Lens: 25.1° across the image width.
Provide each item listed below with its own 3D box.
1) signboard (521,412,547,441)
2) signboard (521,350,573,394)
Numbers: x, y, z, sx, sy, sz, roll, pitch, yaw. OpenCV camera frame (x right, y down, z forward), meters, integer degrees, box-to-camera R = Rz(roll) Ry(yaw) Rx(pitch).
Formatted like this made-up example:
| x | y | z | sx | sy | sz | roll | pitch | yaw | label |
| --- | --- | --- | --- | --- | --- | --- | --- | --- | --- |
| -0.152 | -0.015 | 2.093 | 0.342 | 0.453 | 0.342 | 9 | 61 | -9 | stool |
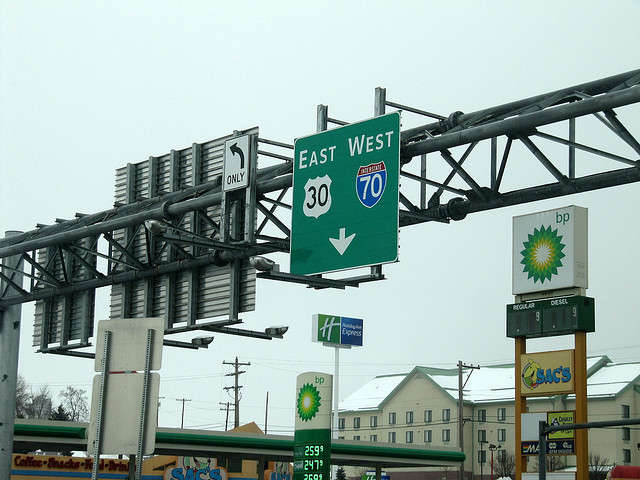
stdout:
| x | y | z | sx | sy | sz | roll | pitch | yaw | label |
| --- | --- | --- | --- | --- | --- | --- | --- | --- | --- |
| 9.238 | 8.119 | 62.374 | 1.051 | 1.389 | 1.077 | -3 | -18 | 7 | signboard |
| 9.707 | 5.661 | 61.561 | 0.454 | 1.942 | 3.027 | 14 | -23 | -37 | signboard |
